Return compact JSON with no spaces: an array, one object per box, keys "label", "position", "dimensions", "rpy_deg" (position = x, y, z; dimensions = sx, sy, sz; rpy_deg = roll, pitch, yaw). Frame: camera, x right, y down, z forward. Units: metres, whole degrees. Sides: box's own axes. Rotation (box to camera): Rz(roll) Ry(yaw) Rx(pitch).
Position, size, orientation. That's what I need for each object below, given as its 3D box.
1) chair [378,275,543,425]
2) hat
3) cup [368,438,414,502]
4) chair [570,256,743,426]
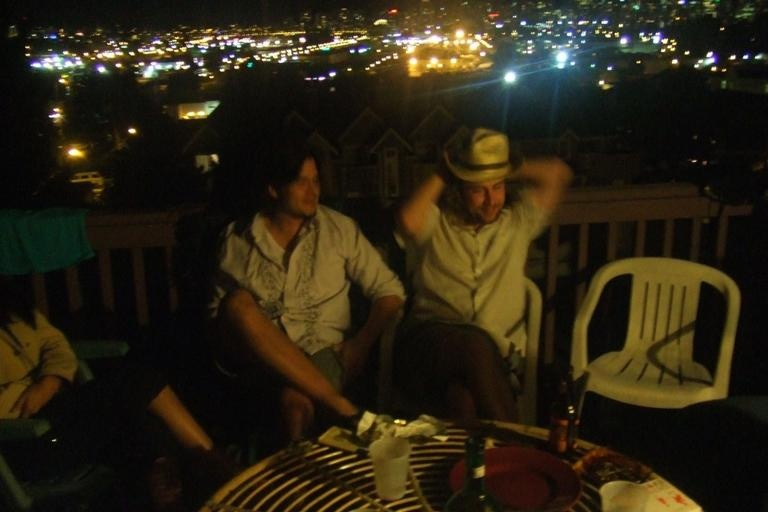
[{"label":"chair","position":[0.356,0.472,3.252],"dimensions":[0.707,0.917,0.764],"rpy_deg":[-2,-17,14]},{"label":"hat","position":[0.509,-0.528,3.245],"dimensions":[0.455,0.174,0.418],"rpy_deg":[-15,33,-30]},{"label":"cup","position":[0.027,0.723,2.297],"dimensions":[0.187,0.186,0.181],"rpy_deg":[-1,13,0]},{"label":"chair","position":[1.270,0.353,3.065],"dimensions":[0.701,0.459,0.583],"rpy_deg":[9,27,37]}]
